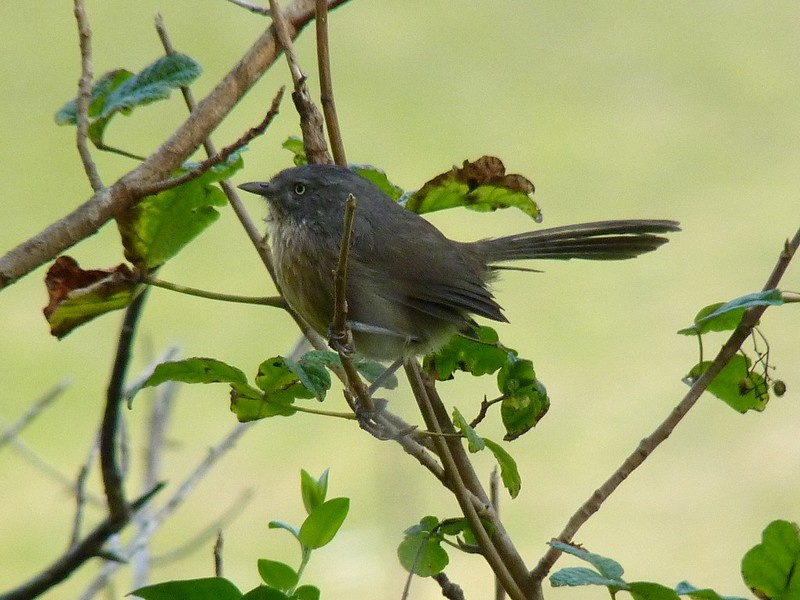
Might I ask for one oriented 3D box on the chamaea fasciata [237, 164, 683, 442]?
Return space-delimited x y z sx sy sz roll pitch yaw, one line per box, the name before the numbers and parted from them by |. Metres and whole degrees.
chamaea fasciata | 0.161 -0.026 3.208 1.381 0.448 0.906 1 -89 -7
